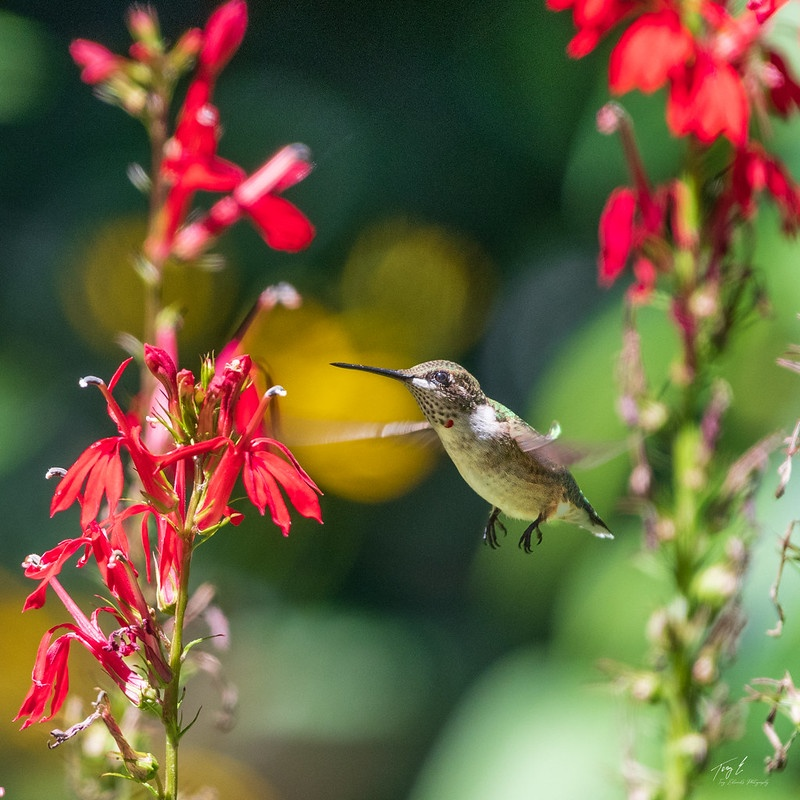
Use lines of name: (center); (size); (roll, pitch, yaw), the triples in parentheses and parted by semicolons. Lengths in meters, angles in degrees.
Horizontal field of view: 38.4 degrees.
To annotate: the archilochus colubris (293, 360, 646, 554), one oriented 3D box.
archilochus colubris: (0.044, 0.048, 0.997); (0.258, 0.165, 0.272); (2, -4, 17)
